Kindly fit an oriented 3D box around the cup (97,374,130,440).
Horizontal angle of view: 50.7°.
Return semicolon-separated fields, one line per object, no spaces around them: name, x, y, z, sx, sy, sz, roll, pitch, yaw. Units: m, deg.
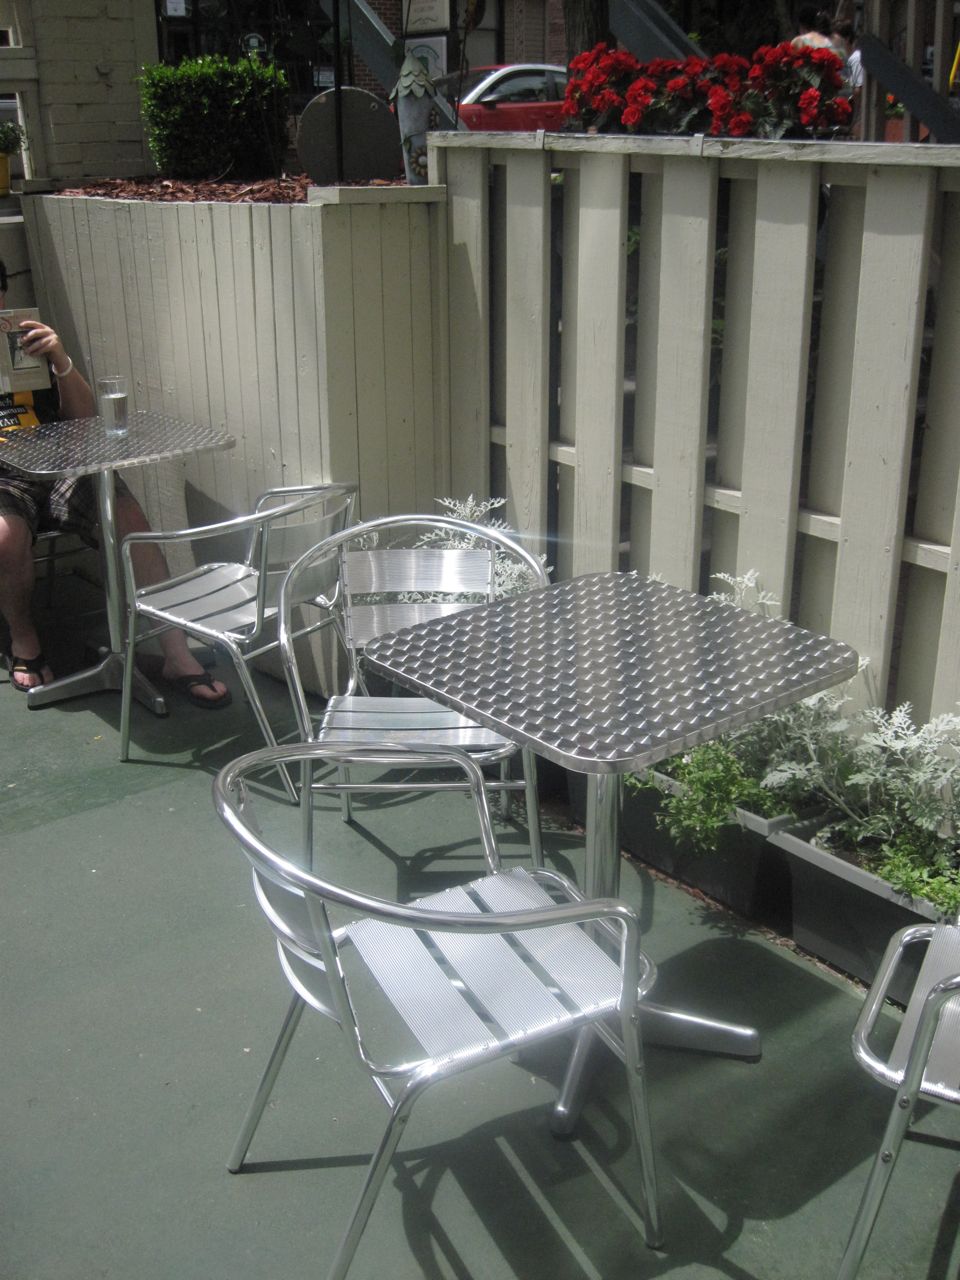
cup;-1.249;-0.795;3.445;0.083;0.199;0.120;-11;22;-20

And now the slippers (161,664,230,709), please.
slippers;-1.029;0.144;3.657;0.123;0.070;0.308;-24;36;-33

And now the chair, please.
chair;0.376;0.356;2.010;1.255;0.611;1.207;13;45;14

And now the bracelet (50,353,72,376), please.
bracelet;-1.595;-1.055;3.859;0.067;0.032;0.086;-4;-1;-4

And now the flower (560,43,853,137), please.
flower;0.514;-1.281;2.380;0.592;0.191;0.377;10;23;31
